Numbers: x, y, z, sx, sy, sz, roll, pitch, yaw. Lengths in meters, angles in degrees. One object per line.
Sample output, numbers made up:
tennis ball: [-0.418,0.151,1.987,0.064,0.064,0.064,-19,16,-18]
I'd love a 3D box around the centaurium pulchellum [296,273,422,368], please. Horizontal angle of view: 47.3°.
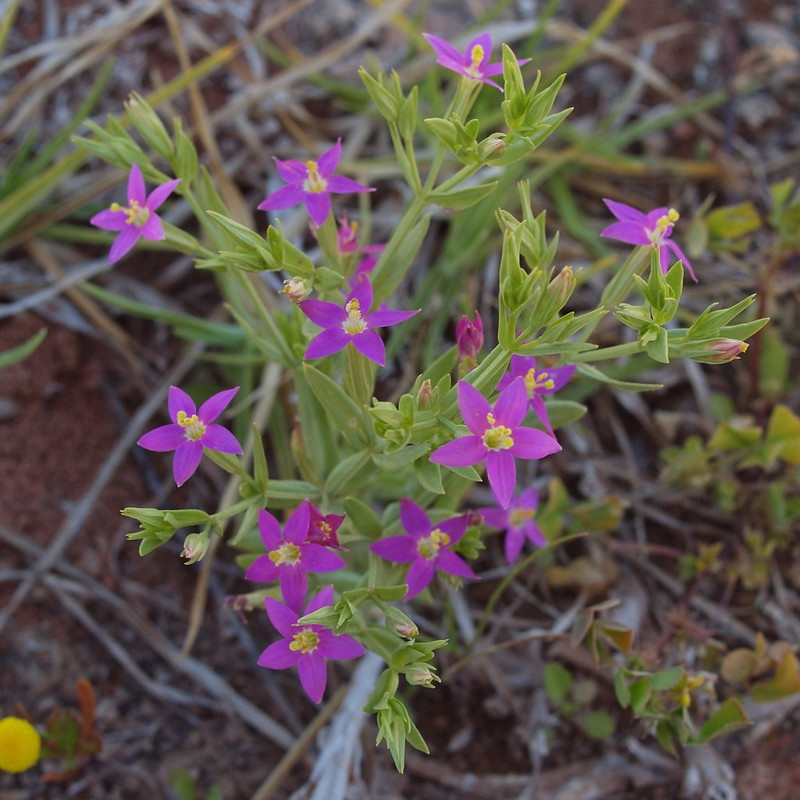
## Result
centaurium pulchellum: [-0.092,-0.154,1.817,0.178,0.200,0.070,-14,62,32]

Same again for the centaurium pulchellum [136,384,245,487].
centaurium pulchellum: [-0.412,0.049,1.853,0.201,0.116,0.229,-7,31,-14]

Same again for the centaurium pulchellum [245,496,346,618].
centaurium pulchellum: [-0.203,0.298,1.856,0.228,0.093,0.223,10,107,7]
